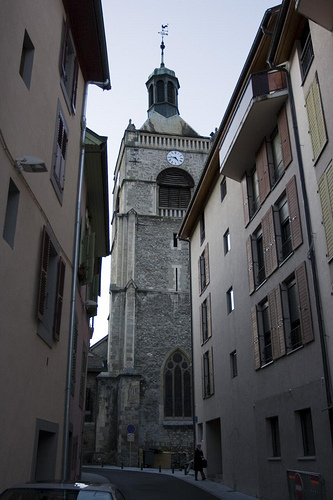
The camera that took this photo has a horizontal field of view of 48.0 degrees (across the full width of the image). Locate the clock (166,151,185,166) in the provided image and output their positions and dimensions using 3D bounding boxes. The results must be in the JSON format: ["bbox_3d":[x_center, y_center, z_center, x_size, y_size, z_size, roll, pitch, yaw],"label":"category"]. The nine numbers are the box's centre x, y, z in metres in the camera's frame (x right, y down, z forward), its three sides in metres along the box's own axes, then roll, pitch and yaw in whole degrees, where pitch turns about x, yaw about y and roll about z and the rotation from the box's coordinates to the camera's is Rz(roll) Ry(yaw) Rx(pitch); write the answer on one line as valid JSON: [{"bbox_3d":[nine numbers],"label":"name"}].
[{"bbox_3d":[0.861,-10.043,41.466,1.105,1.836,0.160,4,-22,-10],"label":"clock"}]
